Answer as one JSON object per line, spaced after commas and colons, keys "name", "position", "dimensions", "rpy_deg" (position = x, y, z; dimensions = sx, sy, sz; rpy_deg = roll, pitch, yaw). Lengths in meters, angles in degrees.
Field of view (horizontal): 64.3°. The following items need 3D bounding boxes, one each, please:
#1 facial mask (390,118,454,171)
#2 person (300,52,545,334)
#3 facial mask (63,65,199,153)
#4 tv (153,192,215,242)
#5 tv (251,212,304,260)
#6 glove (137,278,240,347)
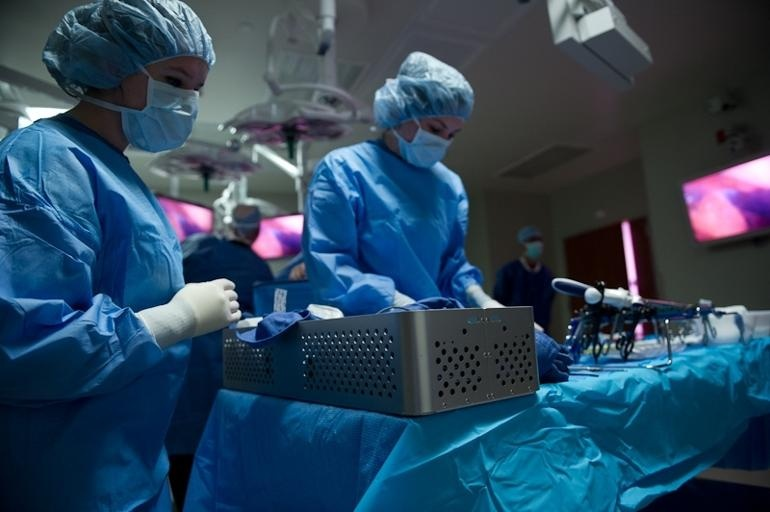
{"name": "facial mask", "position": [0.139, -0.412, 2.184], "dimensions": [0.215, 0.154, 0.197], "rpy_deg": [39, 29, 28]}
{"name": "person", "position": [0.122, -0.188, 2.050], "dimensions": [0.622, 1.041, 0.651], "rpy_deg": [3, 5, -24]}
{"name": "facial mask", "position": [-0.709, -0.437, 1.738], "dimensions": [0.268, 0.241, 0.255], "rpy_deg": [16, 13, -11]}
{"name": "tv", "position": [-1.134, -0.227, 3.498], "dimensions": [0.033, 0.333, 0.505], "rpy_deg": [-13, -3, 16]}
{"name": "tv", "position": [-0.793, -0.169, 4.605], "dimensions": [0.450, 0.336, 0.051], "rpy_deg": [2, 9, 20]}
{"name": "glove", "position": [-0.545, 0.152, 1.687], "dimensions": [0.192, 0.108, 0.109], "rpy_deg": [-16, -11, -27]}
